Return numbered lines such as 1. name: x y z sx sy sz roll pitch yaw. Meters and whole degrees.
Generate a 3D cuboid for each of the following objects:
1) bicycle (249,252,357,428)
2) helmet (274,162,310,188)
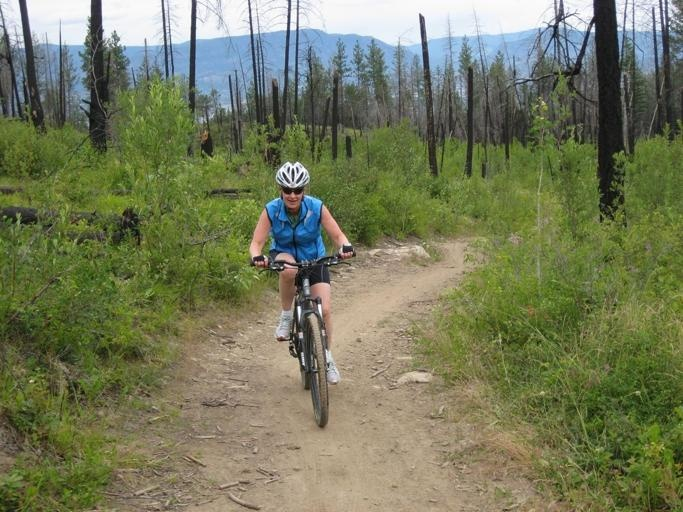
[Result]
1. bicycle: -0.490 1.016 9.262 1.213 2.180 0.931 10 16 30
2. helmet: -0.651 -1.061 8.956 0.399 0.323 0.289 2 15 -2
